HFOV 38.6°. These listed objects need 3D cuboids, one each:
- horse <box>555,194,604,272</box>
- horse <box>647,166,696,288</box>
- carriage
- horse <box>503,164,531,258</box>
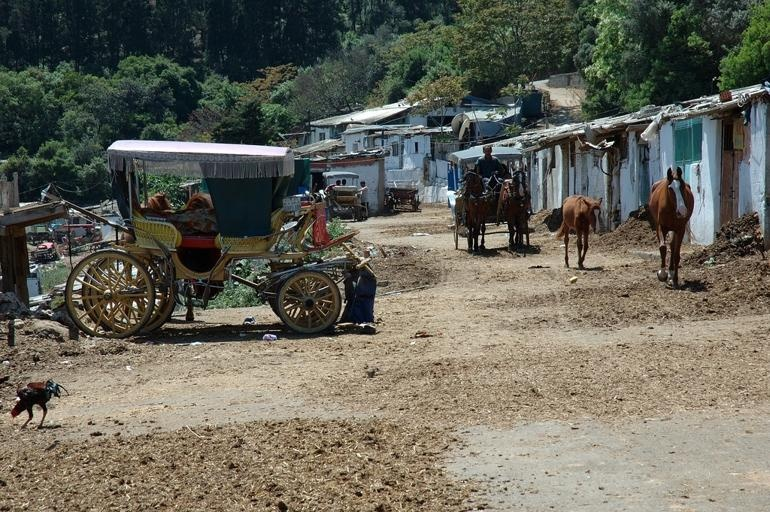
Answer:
[{"bbox_3d":[5.790,-0.960,31.222,0.773,2.153,3.201,0,2,-6],"label":"horse"},{"bbox_3d":[6.871,-0.765,26.330,0.916,2.643,1.756,-1,13,13],"label":"horse"},{"bbox_3d":[4.280,-1.756,35.402,2.522,4.011,4.492,0,-3,-7],"label":"carriage"},{"bbox_3d":[4.040,-1.380,33.511,0.983,2.498,2.175,2,-1,3],"label":"horse"}]
